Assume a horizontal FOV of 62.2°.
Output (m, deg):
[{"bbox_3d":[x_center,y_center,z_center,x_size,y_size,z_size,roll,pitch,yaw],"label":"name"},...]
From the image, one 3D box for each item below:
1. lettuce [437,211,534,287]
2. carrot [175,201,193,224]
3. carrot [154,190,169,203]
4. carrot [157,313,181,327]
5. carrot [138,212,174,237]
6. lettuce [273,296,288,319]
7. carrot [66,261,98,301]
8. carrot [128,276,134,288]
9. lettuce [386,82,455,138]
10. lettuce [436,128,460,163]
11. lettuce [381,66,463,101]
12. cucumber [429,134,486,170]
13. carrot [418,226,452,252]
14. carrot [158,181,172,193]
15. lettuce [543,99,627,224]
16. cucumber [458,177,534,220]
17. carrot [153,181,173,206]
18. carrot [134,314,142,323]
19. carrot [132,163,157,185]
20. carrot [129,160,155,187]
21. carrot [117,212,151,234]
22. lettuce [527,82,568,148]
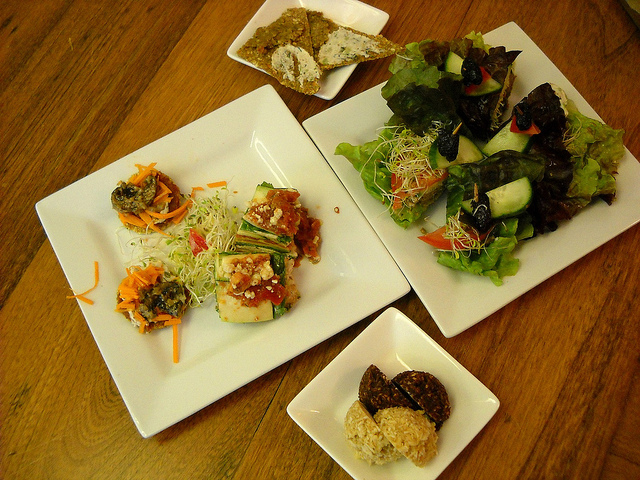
[{"bbox_3d":[0.999,0.138,3.096,0.118,0.432,0.420,-11,65,-17],"label":"lettuce"},{"bbox_3d":[-0.819,-0.163,3.194,0.032,0.023,0.141,36,90,-35],"label":"carrot"},{"bbox_3d":[-0.935,-0.263,3.129,0.102,0.010,0.027,-34,85,-4],"label":"carrot"},{"bbox_3d":[-0.861,0.448,3.017,0.076,0.025,0.088,-2,32,-19],"label":"carrot"},{"bbox_3d":[-0.983,-0.103,3.136,0.227,0.036,0.046,38,53,18],"label":"carrot"},{"bbox_3d":[-0.231,0.387,3.015,0.094,0.069,0.080,-22,84,-2],"label":"lettuce"},{"bbox_3d":[-1.372,0.226,3.076,0.187,0.021,0.163,-4,88,-26],"label":"carrot"},{"bbox_3d":[-1.077,0.235,3.037,0.045,0.012,0.047,-25,66,27],"label":"carrot"},{"bbox_3d":[0.581,-0.696,3.072,0.387,0.120,0.561,16,48,-1],"label":"lettuce"},{"bbox_3d":[0.717,-0.524,2.971,0.113,0.114,0.155,5,84,1],"label":"lettuce"},{"bbox_3d":[0.554,-0.947,3.121,0.275,0.068,0.292,18,56,45],"label":"lettuce"},{"bbox_3d":[0.799,-0.488,3.155,0.261,0.069,0.222,-3,72,-5],"label":"cucumber"},{"bbox_3d":[0.673,0.016,3.042,0.160,0.082,0.146,-19,84,-2],"label":"carrot"},{"bbox_3d":[-0.924,-0.314,3.145,0.014,0.057,0.060,-43,85,1],"label":"carrot"},{"bbox_3d":[1.555,-0.441,3.079,0.561,0.202,0.586,-33,83,-27],"label":"lettuce"},{"bbox_3d":[1.064,-0.230,2.964,0.254,0.063,0.184,-17,84,-2],"label":"cucumber"},{"bbox_3d":[-0.926,-0.276,3.133,0.118,0.053,0.118,-46,113,-5],"label":"carrot"},{"bbox_3d":[-1.021,0.432,2.974,0.032,0.036,0.009,23,26,24],"label":"carrot"},{"bbox_3d":[-1.037,-0.390,3.153,0.051,0.027,0.204,36,62,-5],"label":"carrot"},{"bbox_3d":[-1.062,-0.362,3.173,0.115,0.026,0.195,28,46,0],"label":"carrot"},{"bbox_3d":[-1.097,-0.097,3.149,0.176,0.123,0.040,30,37,-11],"label":"carrot"},{"bbox_3d":[1.298,-0.723,3.076,0.216,0.084,0.426,-3,53,-8],"label":"lettuce"}]
